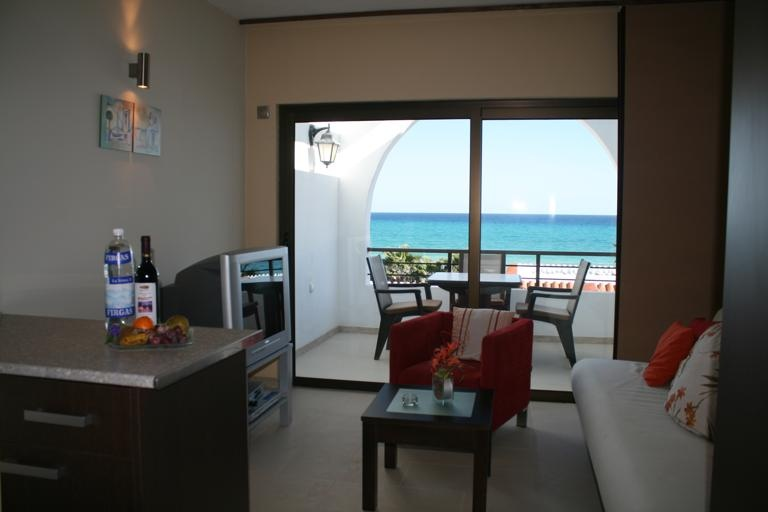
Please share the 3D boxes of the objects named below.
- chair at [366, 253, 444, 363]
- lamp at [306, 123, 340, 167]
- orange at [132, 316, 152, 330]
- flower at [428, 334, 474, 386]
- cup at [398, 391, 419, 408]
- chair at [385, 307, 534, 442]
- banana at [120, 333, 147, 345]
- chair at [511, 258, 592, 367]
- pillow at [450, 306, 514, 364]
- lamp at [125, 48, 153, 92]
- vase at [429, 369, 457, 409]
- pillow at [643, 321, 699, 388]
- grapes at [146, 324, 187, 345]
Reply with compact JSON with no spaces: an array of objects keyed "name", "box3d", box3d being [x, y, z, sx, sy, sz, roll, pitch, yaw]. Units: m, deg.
[{"name":"chair","box3d":[0.128,0.440,5.051,0.722,1.051,0.751,-1,2,14]},{"name":"lamp","box3d":[-0.568,-1.018,5.142,0.291,0.368,0.077,5,12,23]},{"name":"orange","box3d":[-1.041,0.291,2.396,0.058,0.061,0.060,-3,-13,26]},{"name":"flower","box3d":[0.474,0.720,3.606,0.349,0.369,0.338,2,2,11]},{"name":"cup","box3d":[0.160,0.884,3.424,0.072,0.047,0.073,-1,10,0]},{"name":"chair","box3d":[0.590,0.797,4.171,0.908,0.898,0.899,0,-2,28]},{"name":"banana","box3d":[-1.057,0.343,2.328,0.060,0.025,0.061,2,-2,-2]},{"name":"chair","box3d":[1.450,0.492,5.384,0.799,1.203,0.794,4,4,10]},{"name":"pillow","box3d":[0.732,0.607,4.161,0.363,0.362,0.136,-1,-33,22]},{"name":"lamp","box3d":[-1.668,-1.256,3.768,0.133,0.237,0.255,-5,12,-26]},{"name":"vase","box3d":[0.359,0.819,3.444,0.167,0.286,0.168,1,1,-22]},{"name":"pillow","box3d":[1.873,0.642,3.612,0.161,0.273,0.316,-5,-28,-6]},{"name":"grapes","box3d":[-0.918,0.342,2.357,0.086,0.055,0.118,-9,11,-28]}]
